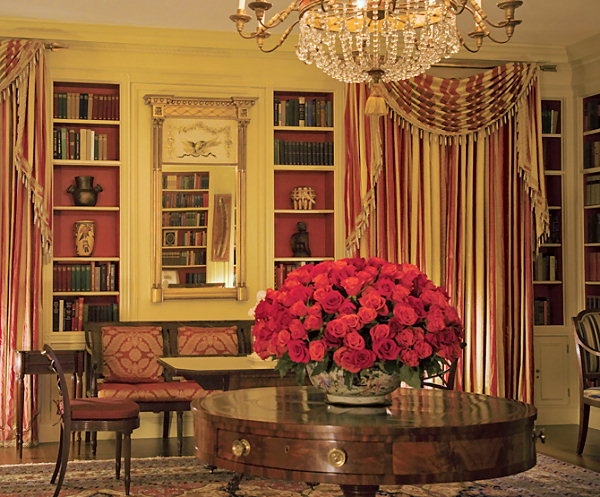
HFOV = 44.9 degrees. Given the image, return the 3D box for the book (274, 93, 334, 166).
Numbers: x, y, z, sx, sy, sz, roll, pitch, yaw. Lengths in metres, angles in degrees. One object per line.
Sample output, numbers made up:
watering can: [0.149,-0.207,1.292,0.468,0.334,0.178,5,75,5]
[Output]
book: [0.018,-1.111,6.794,0.641,0.798,0.426,0,3,-2]

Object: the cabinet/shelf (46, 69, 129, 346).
cabinet/shelf: [-1.886,-0.317,6.394,0.553,2.440,0.273,0,-10,-14]

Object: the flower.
flower: [0.227,0.264,2.951,0.582,0.345,0.581,2,4,-5]

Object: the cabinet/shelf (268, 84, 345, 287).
cabinet/shelf: [0.012,-0.683,6.811,0.649,2.357,0.277,1,1,-4]

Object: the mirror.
mirror: [-0.949,-0.116,6.512,1.162,1.679,0.183,1,-3,-16]

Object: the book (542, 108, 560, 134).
book: [2.460,-1.242,7.253,0.186,0.350,0.355,0,1,15]

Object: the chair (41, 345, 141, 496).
chair: [-1.365,1.157,5.172,0.873,1.273,0.818,0,0,-15]

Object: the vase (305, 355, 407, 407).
vase: [0.198,0.550,2.930,0.236,0.115,0.238,4,-8,-32]
